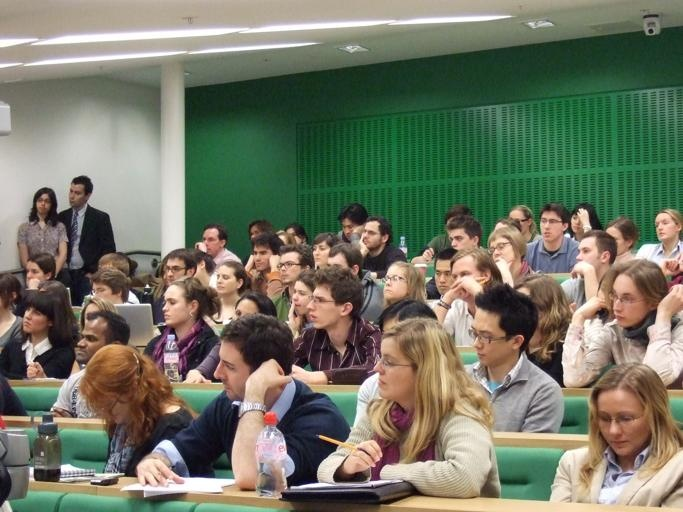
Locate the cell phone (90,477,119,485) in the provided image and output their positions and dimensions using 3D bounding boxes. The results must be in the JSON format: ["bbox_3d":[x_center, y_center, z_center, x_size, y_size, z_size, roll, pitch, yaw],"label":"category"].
[{"bbox_3d":[-0.934,0.877,2.654,0.106,0.021,0.106,-2,-3,-17],"label":"cell phone"}]

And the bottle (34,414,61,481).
[{"bbox_3d":[-1.216,0.799,2.779,0.100,0.212,0.204,-2,-2,-26],"label":"bottle"}]

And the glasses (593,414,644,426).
[{"bbox_3d":[1.040,0.605,2.517,0.152,0.031,0.030,-4,-2,20],"label":"glasses"}]
